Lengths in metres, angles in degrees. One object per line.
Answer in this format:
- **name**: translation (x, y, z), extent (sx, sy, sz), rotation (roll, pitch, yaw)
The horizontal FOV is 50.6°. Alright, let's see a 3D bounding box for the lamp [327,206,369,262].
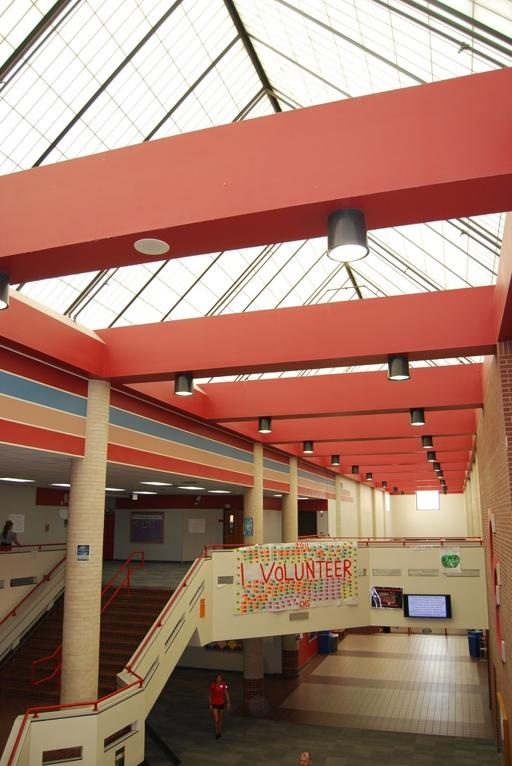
- **lamp**: translation (0.606, -0.992, 3.612), extent (0.264, 0.456, 0.318), rotation (-4, -15, 11)

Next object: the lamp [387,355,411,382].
- **lamp**: translation (2.272, -0.225, 8.502), extent (0.399, 0.457, 0.400), rotation (1, -15, -5)

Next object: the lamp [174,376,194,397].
- **lamp**: translation (-1.286, 0.070, 9.896), extent (0.374, 0.395, 0.366), rotation (4, -11, -31)

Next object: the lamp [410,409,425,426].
- **lamp**: translation (3.480, 0.710, 11.663), extent (0.256, 0.392, 0.330), rotation (-4, -15, 11)

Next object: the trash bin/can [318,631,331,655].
- **trash bin/can**: translation (3.439, 13.116, 27.204), extent (0.629, 1.002, 0.437), rotation (-2, -15, 3)
